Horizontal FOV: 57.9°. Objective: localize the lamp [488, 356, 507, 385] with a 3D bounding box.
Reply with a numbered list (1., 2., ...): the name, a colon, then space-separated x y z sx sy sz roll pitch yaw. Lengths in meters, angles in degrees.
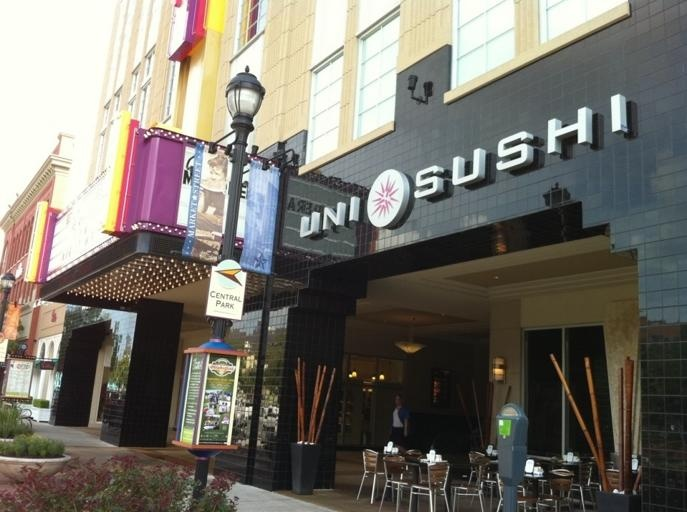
1. lamp: 3.907 2.863 15.647 0.146 0.679 0.401 15 -22 -33
